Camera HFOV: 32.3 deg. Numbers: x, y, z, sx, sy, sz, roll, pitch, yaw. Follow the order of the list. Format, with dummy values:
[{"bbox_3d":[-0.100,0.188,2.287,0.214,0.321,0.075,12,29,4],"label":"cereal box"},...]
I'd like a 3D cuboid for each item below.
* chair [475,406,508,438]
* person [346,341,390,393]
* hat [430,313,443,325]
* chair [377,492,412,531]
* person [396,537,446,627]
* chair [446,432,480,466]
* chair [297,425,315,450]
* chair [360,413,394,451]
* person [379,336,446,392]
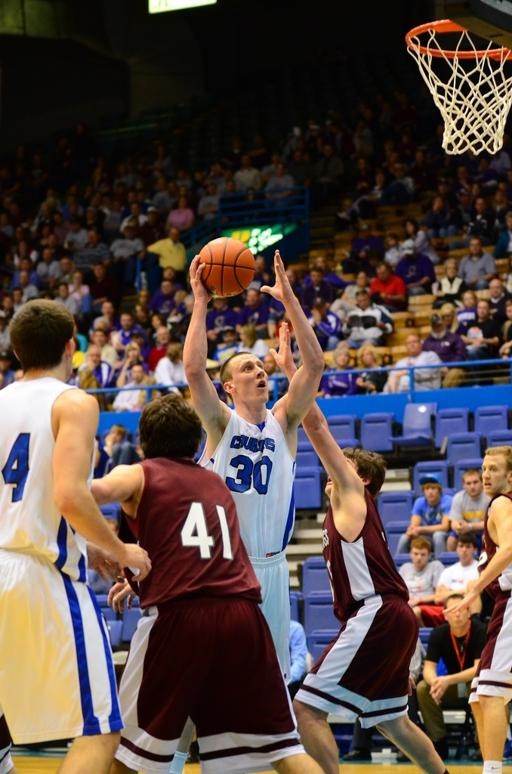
[{"bbox_3d":[2.773,0.435,10.387,0.373,0.346,0.377,-4,-10,37],"label":"chair"},{"bbox_3d":[1.458,-0.233,11.521,0.479,0.731,0.438,-9,-35,14],"label":"person"},{"bbox_3d":[2.251,-0.849,10.977,0.129,0.156,0.049,-3,-12,14],"label":"hat"},{"bbox_3d":[1.468,1.307,9.282,0.381,0.353,0.373,0,-12,1],"label":"chair"},{"bbox_3d":[1.322,1.695,7.208,0.431,0.853,0.520,1,-6,14],"label":"person"},{"bbox_3d":[2.355,0.722,10.110,0.343,0.444,0.387,-5,-11,24],"label":"chair"},{"bbox_3d":[0.620,0.685,11.285,0.353,0.214,0.344,-3,-30,4],"label":"chair"},{"bbox_3d":[1.458,0.558,10.614,0.410,0.529,0.282,-1,-15,8],"label":"chair"},{"bbox_3d":[2.018,-0.217,11.365,0.687,0.920,0.704,-14,-23,34],"label":"person"}]
